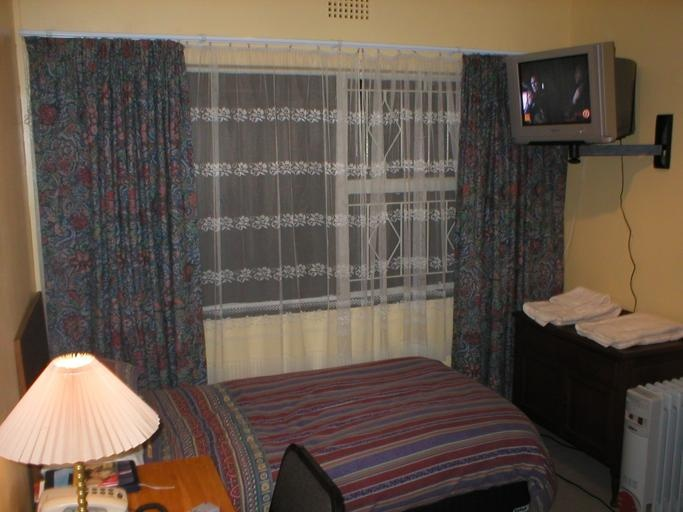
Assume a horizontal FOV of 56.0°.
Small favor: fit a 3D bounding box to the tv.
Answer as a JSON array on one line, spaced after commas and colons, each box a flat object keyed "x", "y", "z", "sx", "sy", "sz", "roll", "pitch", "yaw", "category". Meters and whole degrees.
[{"x": 1.588, "y": -1.122, "z": 4.485, "sx": 0.659, "sy": 0.730, "sz": 0.898, "roll": -23, "pitch": 19, "yaw": -28, "category": "tv"}]
